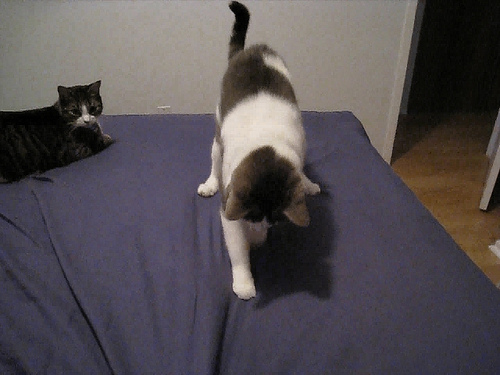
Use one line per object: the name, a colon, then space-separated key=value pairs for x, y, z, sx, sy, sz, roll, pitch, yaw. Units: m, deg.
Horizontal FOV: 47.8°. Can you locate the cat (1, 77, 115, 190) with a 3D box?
cat: x=-0.954 y=-0.336 z=2.931 sx=0.708 sy=0.454 sz=0.277 roll=-27 pitch=33 yaw=-34

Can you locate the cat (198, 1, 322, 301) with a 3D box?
cat: x=-0.002 y=-0.269 z=2.513 sx=0.347 sy=0.685 sz=1.290 roll=-3 pitch=54 yaw=-6
